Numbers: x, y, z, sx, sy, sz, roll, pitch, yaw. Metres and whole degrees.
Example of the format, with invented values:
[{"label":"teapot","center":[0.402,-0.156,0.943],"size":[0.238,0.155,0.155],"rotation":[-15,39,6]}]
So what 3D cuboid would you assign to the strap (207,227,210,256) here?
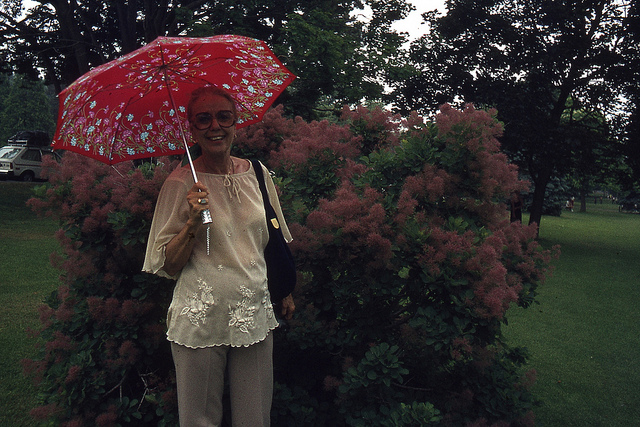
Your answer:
[{"label":"strap","center":[-0.986,0.243,4.000],"size":[0.019,0.244,0.017],"rotation":[1,0,-6]}]

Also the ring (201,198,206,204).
[{"label":"ring","center":[-1.004,-0.111,3.879],"size":[0.041,0.039,0.014],"rotation":[-1,-6,-22]}]

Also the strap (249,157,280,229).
[{"label":"strap","center":[-0.554,-0.190,4.494],"size":[0.112,0.899,0.279],"rotation":[-15,-9,10]}]

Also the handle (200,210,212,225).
[{"label":"handle","center":[-0.976,0.026,3.895],"size":[0.091,0.124,0.081],"rotation":[1,0,-15]}]

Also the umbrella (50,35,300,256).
[{"label":"umbrella","center":[-1.897,-1.035,5.390],"size":[2.357,2.295,1.944],"rotation":[-16,45,-32]}]

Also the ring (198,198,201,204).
[{"label":"ring","center":[-1.034,-0.114,3.881],"size":[0.036,0.048,0.011],"rotation":[0,-2,13]}]
